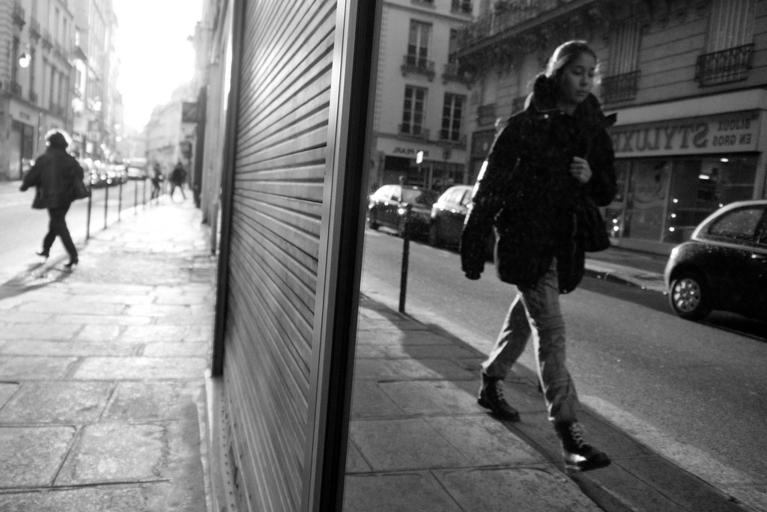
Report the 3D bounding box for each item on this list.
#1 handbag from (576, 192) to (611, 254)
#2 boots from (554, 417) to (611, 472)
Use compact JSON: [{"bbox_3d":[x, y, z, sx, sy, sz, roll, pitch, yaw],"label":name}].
[{"bbox_3d":[0.322,-0.047,0.788,0.018,0.069,0.068,-9,17,-28],"label":"handbag"},{"bbox_3d":[0.297,0.274,0.748,0.078,0.041,0.087,-5,53,8],"label":"boots"}]
